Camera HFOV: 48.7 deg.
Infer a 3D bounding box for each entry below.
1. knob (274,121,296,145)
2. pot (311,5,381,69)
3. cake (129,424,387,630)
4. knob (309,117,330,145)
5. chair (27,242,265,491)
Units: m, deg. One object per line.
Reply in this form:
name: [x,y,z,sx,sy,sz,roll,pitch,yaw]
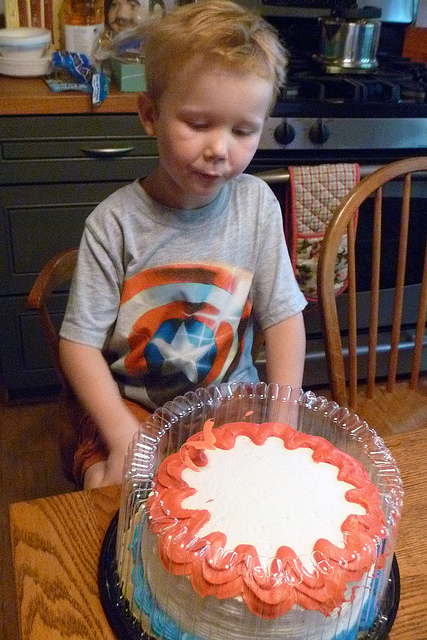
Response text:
knob: [0.229,-0.595,1.505,0.051,0.071,0.016,-4,15,-2]
pot: [0.488,-1.001,1.669,0.171,0.237,0.227,-11,29,-19]
cake: [0.037,0.142,0.375,0.128,0.049,0.134,1,27,2]
knob: [0.351,-0.614,1.532,0.081,0.082,0.030,-10,28,-24]
chair: [-0.207,0.015,1.175,0.450,0.654,0.503,-11,26,-31]
